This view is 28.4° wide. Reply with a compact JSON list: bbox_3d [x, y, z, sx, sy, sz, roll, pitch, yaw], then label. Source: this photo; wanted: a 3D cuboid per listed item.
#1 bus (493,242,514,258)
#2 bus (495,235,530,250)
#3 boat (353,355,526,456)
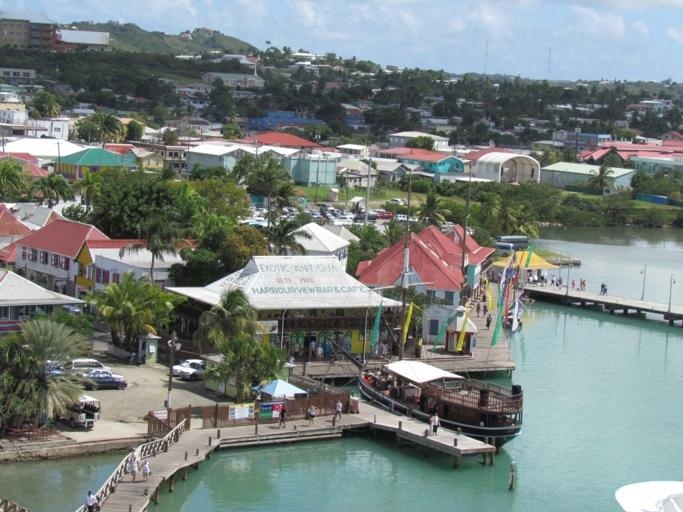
[{"bbox_3d":[20.296,-0.801,167.944,1.731,2.098,5.329,1,2,7],"label":"bus"},{"bbox_3d":[21.966,-1.905,172.816,5.431,1.725,1.785,0,0,-43],"label":"bus"},{"bbox_3d":[8.036,12.288,109.982,15.060,5.692,5.622,19,20,40],"label":"boat"}]
